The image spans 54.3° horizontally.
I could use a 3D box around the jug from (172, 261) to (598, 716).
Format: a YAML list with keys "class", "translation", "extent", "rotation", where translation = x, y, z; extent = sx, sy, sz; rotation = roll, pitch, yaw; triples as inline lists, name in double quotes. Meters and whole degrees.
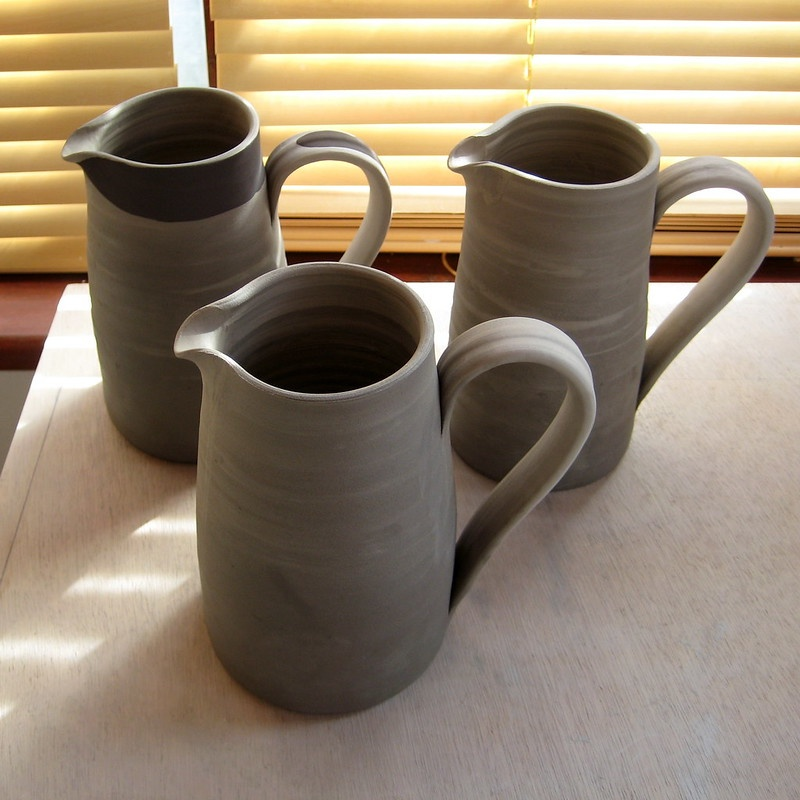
- class: "jug"
  translation: [-0.002, 0.051, 0.440]
  extent: [0.216, 0.210, 0.131]
  rotation: [-2, 32, -6]

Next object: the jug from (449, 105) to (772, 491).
- class: "jug"
  translation: [0.149, -0.068, 0.554]
  extent: [0.204, 0.240, 0.118]
  rotation: [0, 37, 3]

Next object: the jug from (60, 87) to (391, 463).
- class: "jug"
  translation: [-0.118, -0.091, 0.581]
  extent: [0.222, 0.222, 0.125]
  rotation: [-8, 37, -19]
